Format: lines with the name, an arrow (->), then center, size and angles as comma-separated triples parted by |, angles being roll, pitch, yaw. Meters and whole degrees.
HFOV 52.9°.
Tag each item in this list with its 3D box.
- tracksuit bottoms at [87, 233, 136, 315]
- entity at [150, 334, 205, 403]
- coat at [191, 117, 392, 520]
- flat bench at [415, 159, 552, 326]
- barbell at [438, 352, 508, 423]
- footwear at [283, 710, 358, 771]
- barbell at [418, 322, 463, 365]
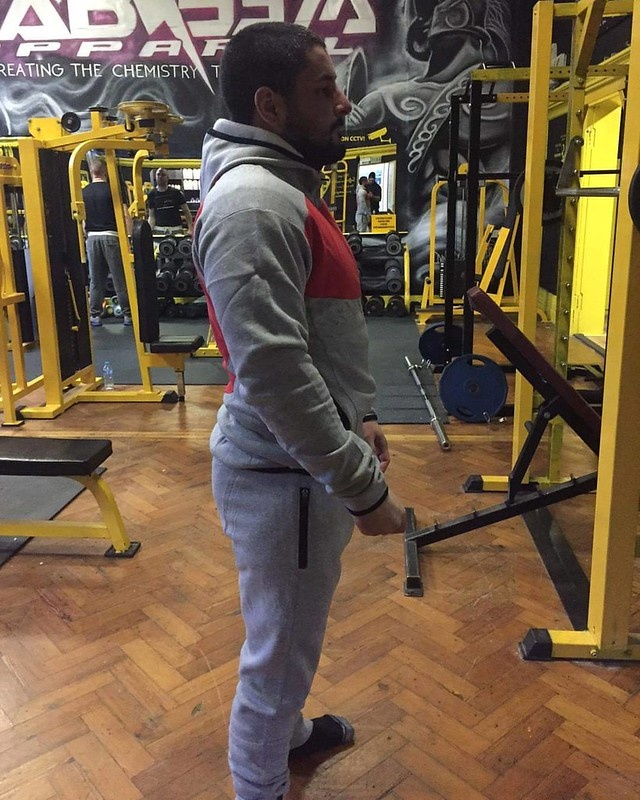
tracksuit bottoms -> -2.185, -1.256, 6.630 | 0.461, 0.867, 0.257 | 4, 18, 7
entity -> -0.961, -0.190, 4.373 | 0.323, 0.370, 0.414 | -6, 4, -3
coat -> -0.049, -0.127, 0.906 | 0.250, 0.521, 0.358 | -3, 21, 2
flat bench -> 1.584, -1.608, 6.682 | 1.561, 1.559, 1.348 | -2, 7, 15
barbell -> 0.838, -0.095, 3.744 | 0.450, 0.384, 0.403 | 9, 21, 8
footwear -> 0.013, 0.750, 1.459 | 0.190, 0.065, 0.063 | -6, 7, -45
barbell -> 0.903, -0.427, 4.843 | 0.371, 0.309, 0.123 | 3, 2, 4
